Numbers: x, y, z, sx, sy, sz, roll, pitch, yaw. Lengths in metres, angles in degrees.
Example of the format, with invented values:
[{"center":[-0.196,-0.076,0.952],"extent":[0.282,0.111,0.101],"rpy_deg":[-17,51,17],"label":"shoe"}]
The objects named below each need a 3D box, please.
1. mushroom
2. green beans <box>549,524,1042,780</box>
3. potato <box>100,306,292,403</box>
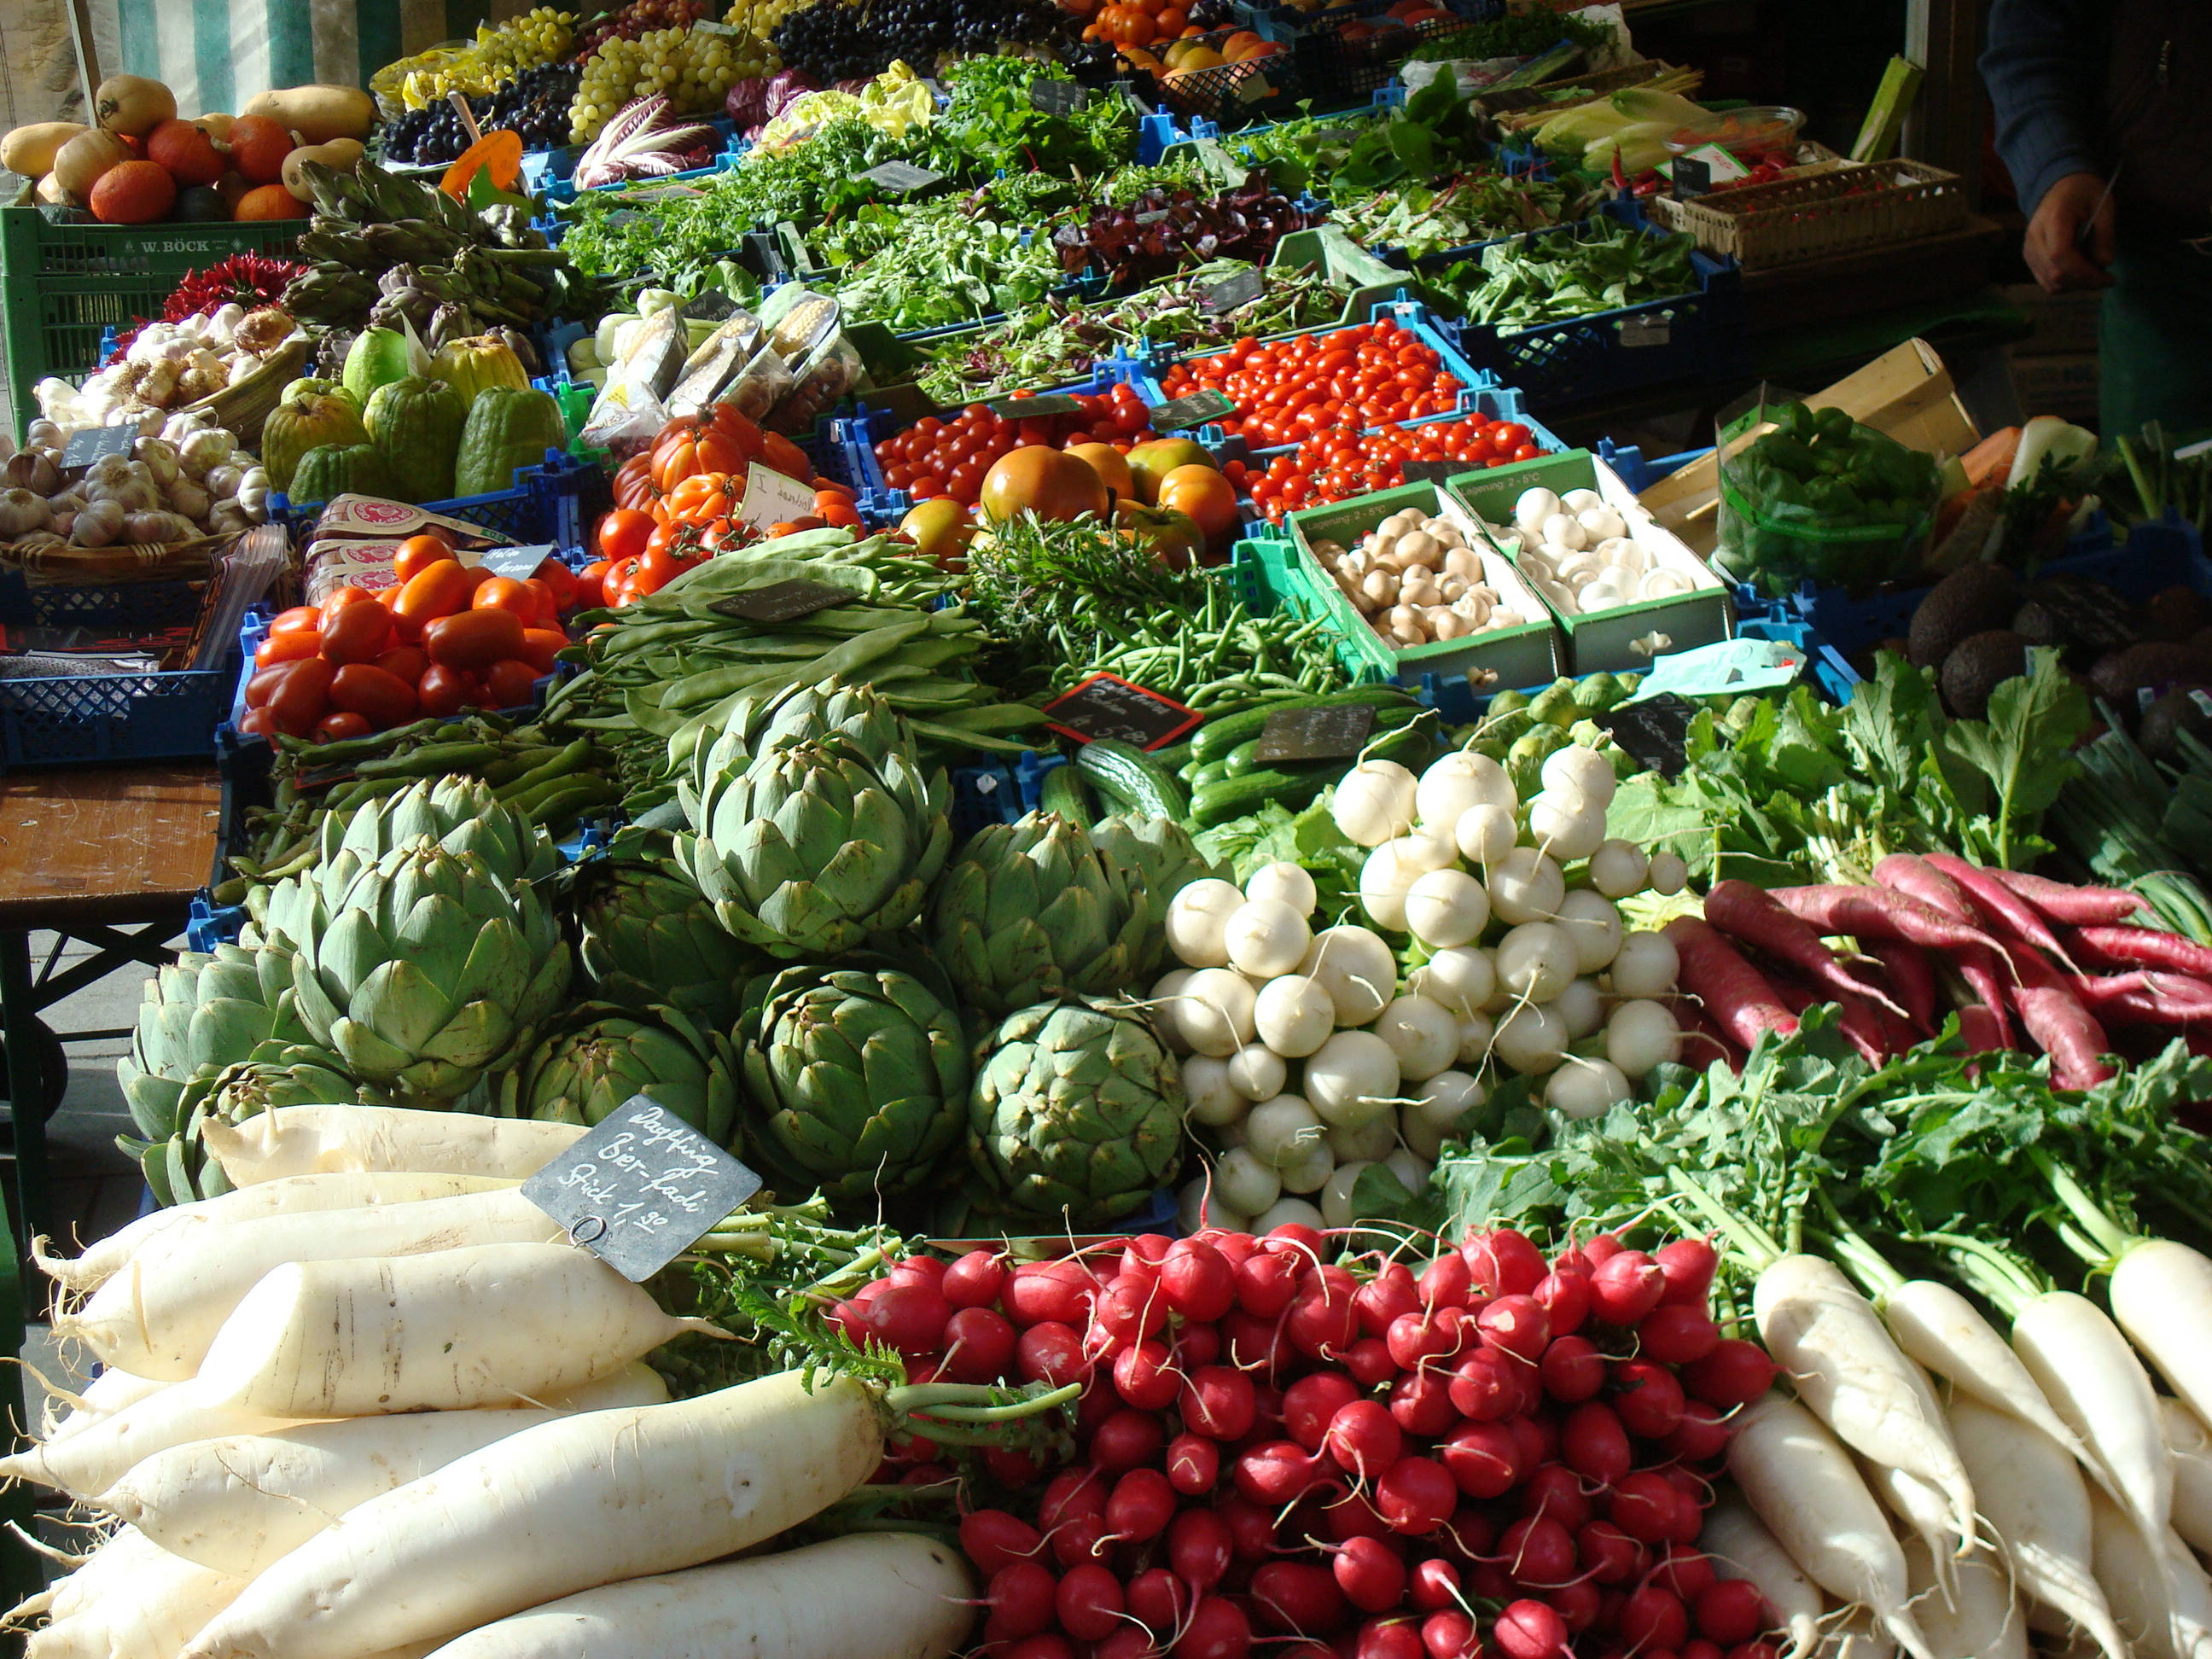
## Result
[{"center":[0.872,-0.567,3.896],"extent":[0.729,0.196,0.729],"rpy_deg":[-8,23,-7],"label":"mushroom"},{"center":[-0.628,-0.363,3.516],"extent":[0.693,0.222,0.601],"rpy_deg":[1,34,3],"label":"green beans"},{"center":[-2.938,-1.583,5.898],"extent":[0.546,0.178,0.565],"rpy_deg":[-21,29,5],"label":"potato"}]
